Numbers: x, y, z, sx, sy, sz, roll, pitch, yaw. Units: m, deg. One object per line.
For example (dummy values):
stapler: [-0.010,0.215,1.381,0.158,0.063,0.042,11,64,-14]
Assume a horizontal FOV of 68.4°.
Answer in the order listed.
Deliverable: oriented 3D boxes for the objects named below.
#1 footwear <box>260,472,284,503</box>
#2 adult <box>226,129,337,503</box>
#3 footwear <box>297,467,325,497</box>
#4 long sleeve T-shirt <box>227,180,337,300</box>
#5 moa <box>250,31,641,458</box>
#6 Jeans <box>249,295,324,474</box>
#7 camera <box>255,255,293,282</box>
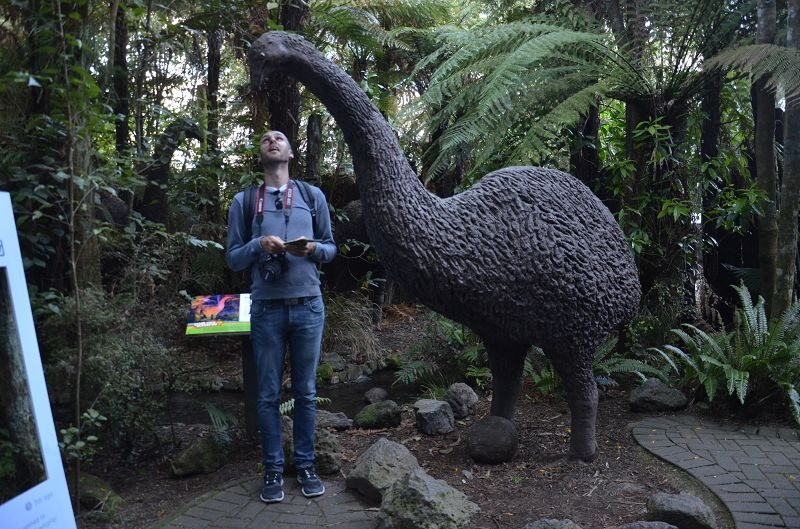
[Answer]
footwear: [-1.102,1.897,5.075,0.203,0.236,0.228,-1,5,-12]
adult: [-0.962,0.405,5.148,0.991,3.210,1.150,0,-2,-27]
footwear: [-0.788,1.896,5.136,0.145,0.119,0.294,1,-2,-30]
long sleeve T-shirt: [-1.033,-0.242,5.198,0.949,1.020,0.590,-1,-2,-20]
moa: [0.672,-0.042,5.117,3.032,3.639,0.425,0,5,-9]
Jeans: [-1.000,1.074,5.250,0.653,1.685,0.470,0,-1,-18]
camera: [-1.060,0.027,4.997,0.215,0.210,0.112,0,5,-10]
